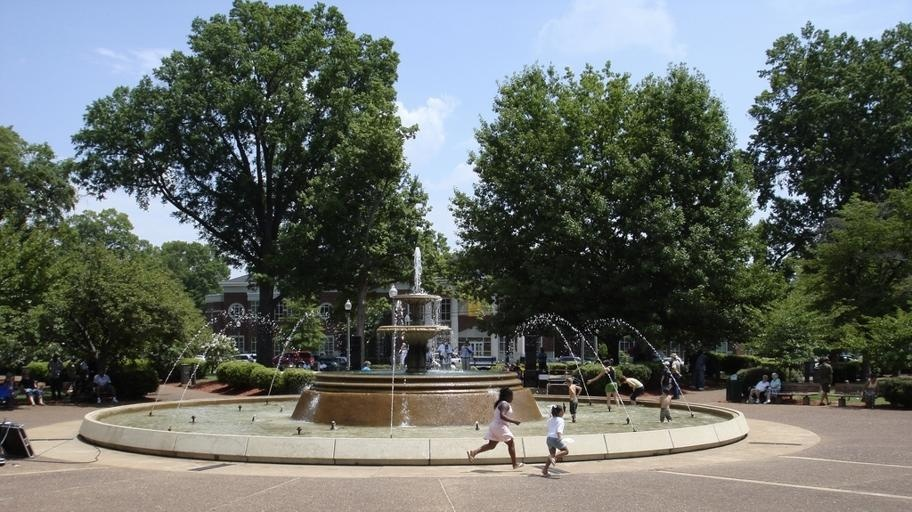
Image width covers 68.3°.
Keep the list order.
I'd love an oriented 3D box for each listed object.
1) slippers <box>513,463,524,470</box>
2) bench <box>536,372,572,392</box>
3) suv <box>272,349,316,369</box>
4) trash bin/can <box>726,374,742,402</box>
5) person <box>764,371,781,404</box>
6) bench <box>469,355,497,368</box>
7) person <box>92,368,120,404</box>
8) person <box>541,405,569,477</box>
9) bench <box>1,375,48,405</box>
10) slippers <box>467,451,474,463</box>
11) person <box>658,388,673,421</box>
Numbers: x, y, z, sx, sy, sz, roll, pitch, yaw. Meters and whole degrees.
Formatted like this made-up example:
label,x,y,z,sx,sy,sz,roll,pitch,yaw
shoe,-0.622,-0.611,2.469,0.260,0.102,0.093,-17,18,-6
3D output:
label,x,y,z,sx,sy,sz,roll,pitch,yaw
slippers,2.122,7.197,23.135,0.225,0.152,0.477,-8,-16,35
bench,5.844,7.742,41.182,1.889,0.762,2.272,2,-1,-5
suv,-15.871,10.127,66.650,2.809,2.097,7.632,2,-13,-5
trash bin/can,16.012,7.633,38.862,0.849,1.512,1.581,-4,-14,23
person,17.786,7.404,37.947,0.695,1.671,1.517,-9,-16,39
bench,3.063,11.771,75.041,2.355,1.108,1.460,-1,-4,1
person,-18.883,7.001,36.245,1.237,1.721,1.347,7,-14,-24
person,3.368,6.273,23.074,0.841,2.283,1.253,-1,-13,8
bench,-22.223,6.844,34.338,1.757,1.214,2.671,3,-4,-30
slippers,0.496,6.933,23.281,0.181,0.412,0.169,-4,11,-1
person,8.795,6.258,28.412,0.391,1.453,1.366,-2,-13,14
